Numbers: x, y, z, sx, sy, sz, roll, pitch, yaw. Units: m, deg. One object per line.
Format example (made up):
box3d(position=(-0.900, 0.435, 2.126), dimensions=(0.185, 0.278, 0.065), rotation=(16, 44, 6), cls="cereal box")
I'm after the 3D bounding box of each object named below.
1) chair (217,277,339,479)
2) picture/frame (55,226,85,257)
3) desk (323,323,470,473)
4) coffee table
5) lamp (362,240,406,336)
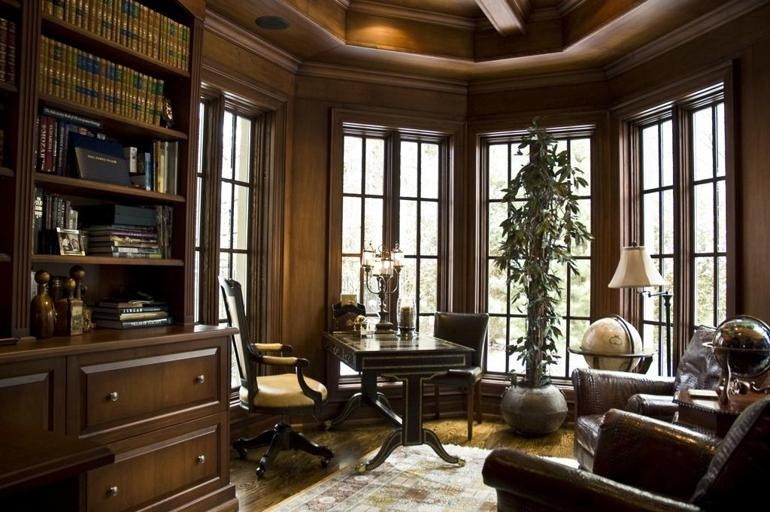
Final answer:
box3d(position=(-0.935, 0.996, 4.440), dimensions=(0.984, 1.443, 1.028), rotation=(2, -1, 20), cls="chair")
box3d(position=(-1.922, -0.079, 3.226), dimensions=(0.026, 0.174, 0.179), rotation=(-14, -14, 25), cls="picture/frame")
box3d(position=(0.083, 1.392, 4.473), dimensions=(0.977, 0.824, 1.611), rotation=(2, -4, -17), cls="desk")
box3d(position=(1.724, 0.817, 2.722), dimensions=(0.382, 0.092, 0.398), rotation=(-15, 2, -5), cls="coffee table")
box3d(position=(0.015, 0.295, 5.090), dimensions=(0.464, 0.807, 0.464), rotation=(5, 11, 31), cls="lamp")
